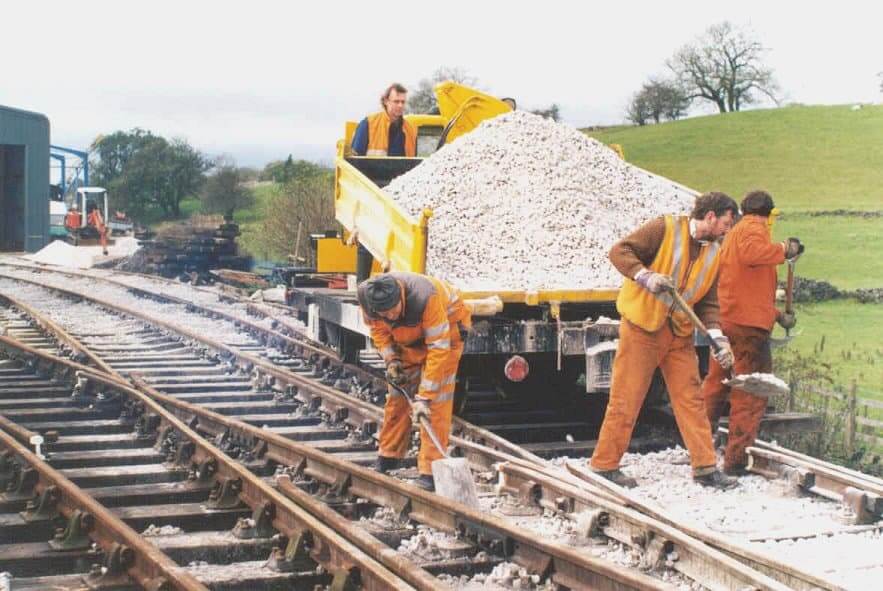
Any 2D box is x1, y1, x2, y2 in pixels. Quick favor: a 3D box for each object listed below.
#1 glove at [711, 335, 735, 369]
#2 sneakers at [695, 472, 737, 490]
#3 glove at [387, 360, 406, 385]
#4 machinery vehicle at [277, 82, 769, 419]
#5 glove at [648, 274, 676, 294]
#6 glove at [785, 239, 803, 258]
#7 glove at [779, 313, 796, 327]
[{"bbox_3d":[2.613,0.535,9.234,0.090,0.282,0.199,-25,-25,19],"label":"glove"},{"bbox_3d":[2.597,1.758,9.413,0.439,0.214,0.158,-2,1,-3],"label":"sneakers"},{"bbox_3d":[-0.425,0.745,9.240,0.082,0.232,0.165,-12,-11,0],"label":"glove"},{"bbox_3d":[0.333,-0.455,12.550,3.991,3.454,6.604,-2,6,-19],"label":"machinery vehicle"},{"bbox_3d":[1.994,-0.095,8.915,0.197,0.075,0.149,7,-6,-20],"label":"glove"},{"bbox_3d":[3.485,-0.478,9.877,0.153,0.100,0.217,-5,33,-3],"label":"glove"},{"bbox_3d":[3.481,0.247,9.965,0.147,0.111,0.129,-3,5,-31],"label":"glove"}]
